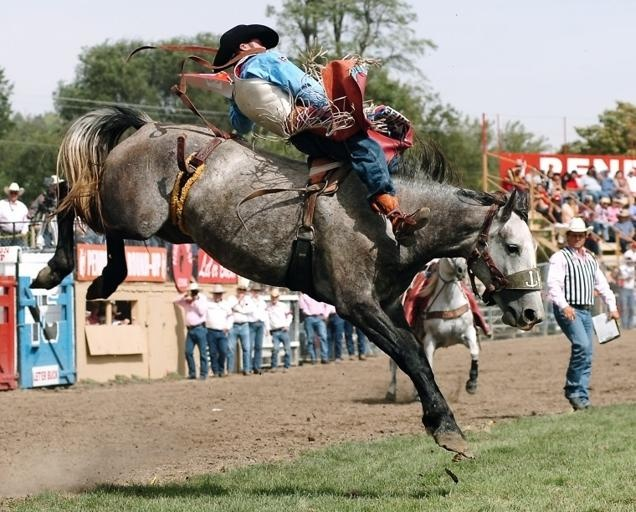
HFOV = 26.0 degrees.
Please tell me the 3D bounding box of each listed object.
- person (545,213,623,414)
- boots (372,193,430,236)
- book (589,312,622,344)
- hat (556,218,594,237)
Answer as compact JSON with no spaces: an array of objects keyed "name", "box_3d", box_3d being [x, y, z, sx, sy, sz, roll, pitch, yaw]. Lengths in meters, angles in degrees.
[{"name":"person","box_3d":[3.720,0.789,19.239,0.902,2.693,0.990,-4,-3,11]},{"name":"boots","box_3d":[0.911,-0.486,15.039,0.237,0.477,0.509,-16,-13,-48]},{"name":"book","box_3d":[4.047,0.995,19.241,0.349,0.271,0.320,-4,-2,10]},{"name":"hat","box_3d":[3.667,-0.423,19.490,0.525,0.198,0.517,1,-4,5]}]
